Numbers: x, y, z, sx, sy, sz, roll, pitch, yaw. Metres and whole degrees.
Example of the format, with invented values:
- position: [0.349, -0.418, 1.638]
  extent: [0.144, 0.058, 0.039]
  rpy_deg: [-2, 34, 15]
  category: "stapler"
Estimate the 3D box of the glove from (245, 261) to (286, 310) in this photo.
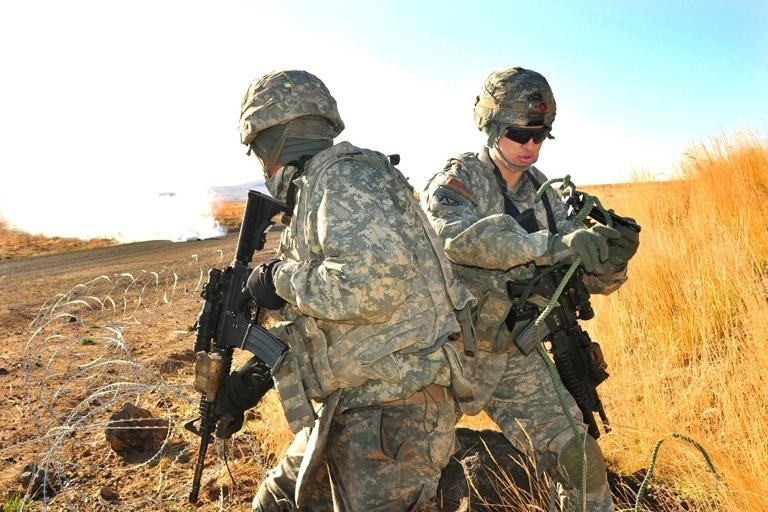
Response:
- position: [-0.881, 0.226, 4.163]
  extent: [0.333, 0.336, 0.283]
  rpy_deg: [-1, -13, -30]
  category: "glove"

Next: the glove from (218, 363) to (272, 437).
- position: [-1.111, 1.098, 4.338]
  extent: [0.374, 0.552, 0.224]
  rpy_deg: [22, -8, -23]
  category: "glove"

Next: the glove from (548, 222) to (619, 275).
- position: [1.559, -0.062, 4.408]
  extent: [0.492, 0.374, 0.283]
  rpy_deg: [3, -10, -24]
  category: "glove"
